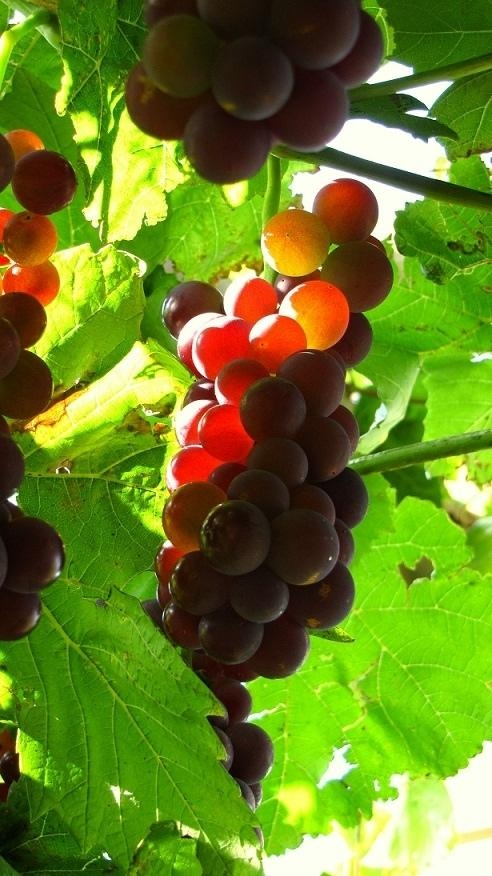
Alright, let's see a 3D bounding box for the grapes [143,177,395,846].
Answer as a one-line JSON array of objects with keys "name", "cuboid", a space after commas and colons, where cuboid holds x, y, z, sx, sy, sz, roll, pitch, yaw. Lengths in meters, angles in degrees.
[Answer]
[{"name": "grapes", "cuboid": [0.002, 0.020, 0.609, 0.186, 0.485, 0.305, 11, -33, -8]}]
